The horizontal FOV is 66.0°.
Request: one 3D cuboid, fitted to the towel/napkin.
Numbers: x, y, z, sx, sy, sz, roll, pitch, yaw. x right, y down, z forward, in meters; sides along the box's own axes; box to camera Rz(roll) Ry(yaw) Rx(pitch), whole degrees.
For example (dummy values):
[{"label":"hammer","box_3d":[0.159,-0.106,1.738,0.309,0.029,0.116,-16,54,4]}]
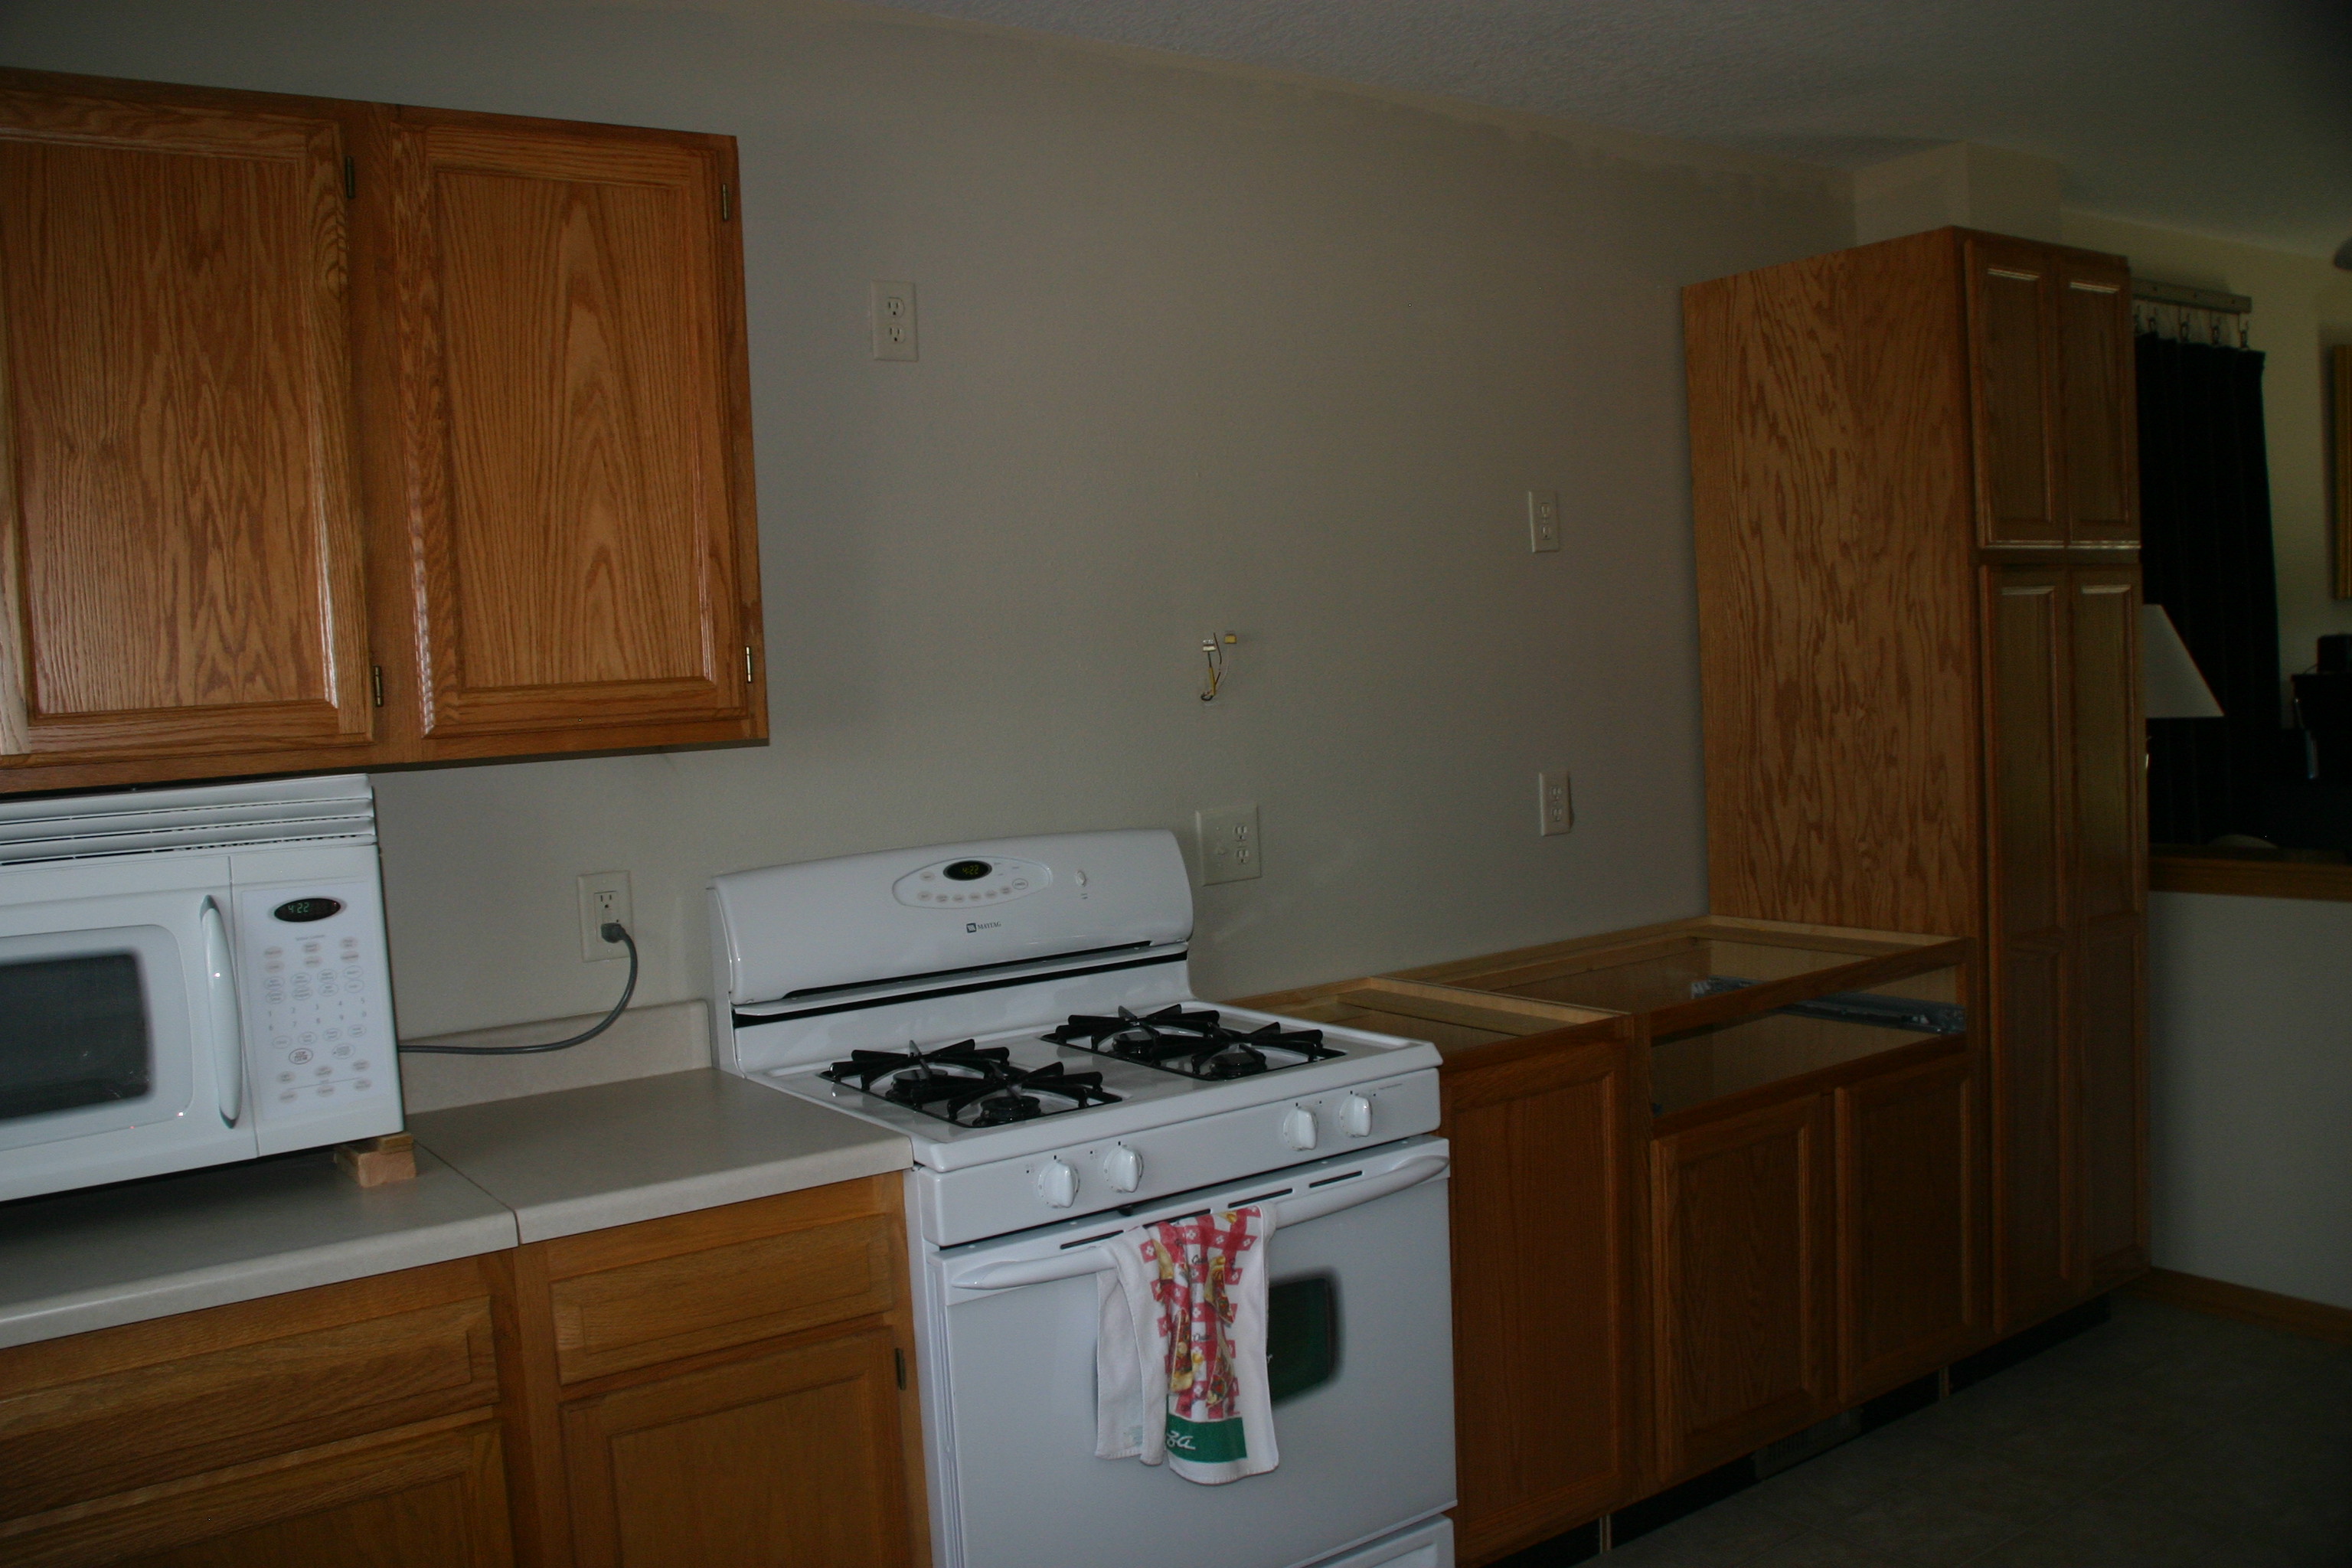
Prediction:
[{"label":"towel/napkin","box_3d":[0.016,0.893,2.806,0.300,0.440,0.086,-7,5,-22]}]
